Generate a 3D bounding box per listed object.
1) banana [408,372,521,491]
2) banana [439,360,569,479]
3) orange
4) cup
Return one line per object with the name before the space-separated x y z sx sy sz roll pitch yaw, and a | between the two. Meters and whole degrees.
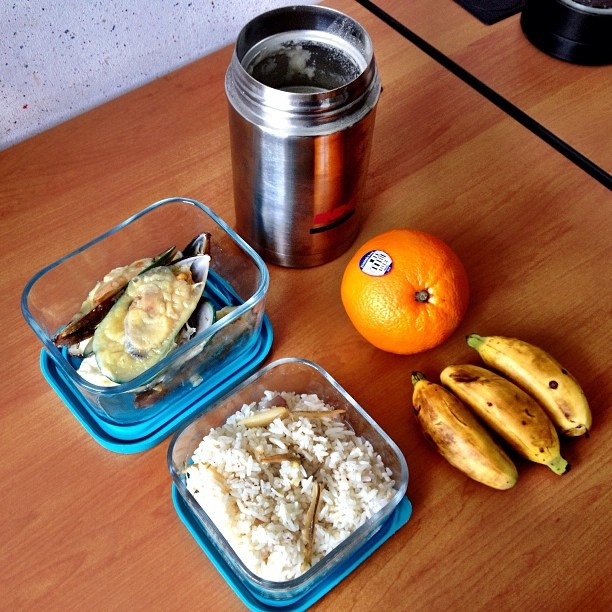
banana | 0.139 0.122 0.644 0.052 0.051 0.155 -44 76 7
banana | 0.186 0.103 0.652 0.157 0.056 0.058 42 86 15
orange | 0.103 -0.007 0.709 0.143 0.124 0.120 0 81 2
cup | -0.002 -0.178 0.709 0.158 0.256 0.166 -1 58 1
